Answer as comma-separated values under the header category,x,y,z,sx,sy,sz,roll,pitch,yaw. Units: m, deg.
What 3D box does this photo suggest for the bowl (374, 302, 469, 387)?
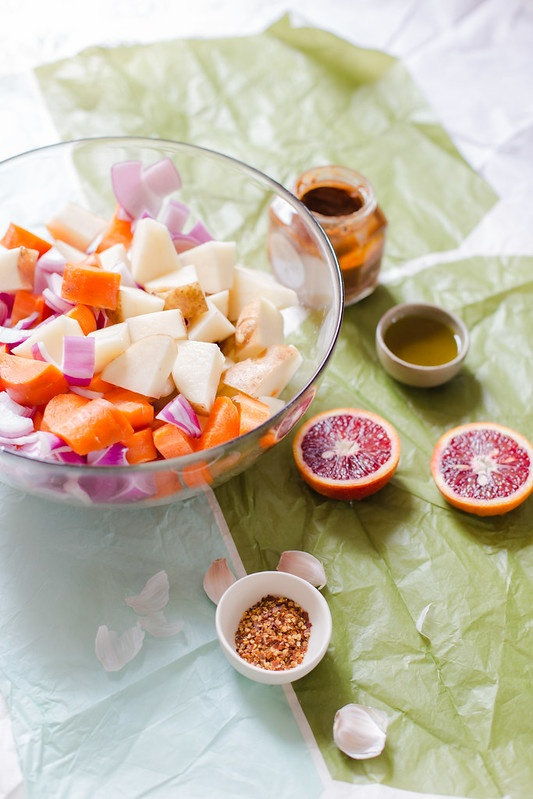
category,x,y,z,sx,sy,sz,roll,pitch,yaw
bowl,0.277,-0.091,1.234,0.159,0.106,0.154,-3,34,2

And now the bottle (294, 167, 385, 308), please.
category,x,y,z,sx,sy,sz,roll,pitch,yaw
bottle,0.124,-0.315,1.347,0.205,0.229,0.178,-8,59,-4

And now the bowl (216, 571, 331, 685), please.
category,x,y,z,sx,sy,sz,roll,pitch,yaw
bowl,0.012,0.311,0.870,0.151,0.081,0.144,2,58,-3
